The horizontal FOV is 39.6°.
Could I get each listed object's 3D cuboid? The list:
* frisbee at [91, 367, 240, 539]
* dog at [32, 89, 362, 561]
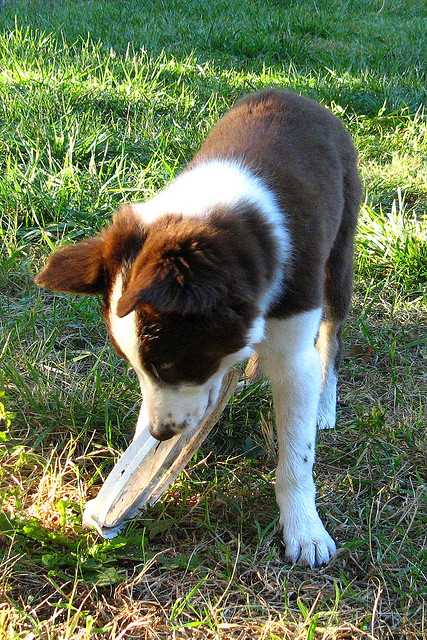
[{"bbox_3d":[-0.172,0.471,2.094,0.110,0.599,0.483,44,-8,4],"label":"frisbee"},{"bbox_3d":[0.311,-0.350,2.410,0.966,1.261,2.188,12,41,21],"label":"dog"}]
